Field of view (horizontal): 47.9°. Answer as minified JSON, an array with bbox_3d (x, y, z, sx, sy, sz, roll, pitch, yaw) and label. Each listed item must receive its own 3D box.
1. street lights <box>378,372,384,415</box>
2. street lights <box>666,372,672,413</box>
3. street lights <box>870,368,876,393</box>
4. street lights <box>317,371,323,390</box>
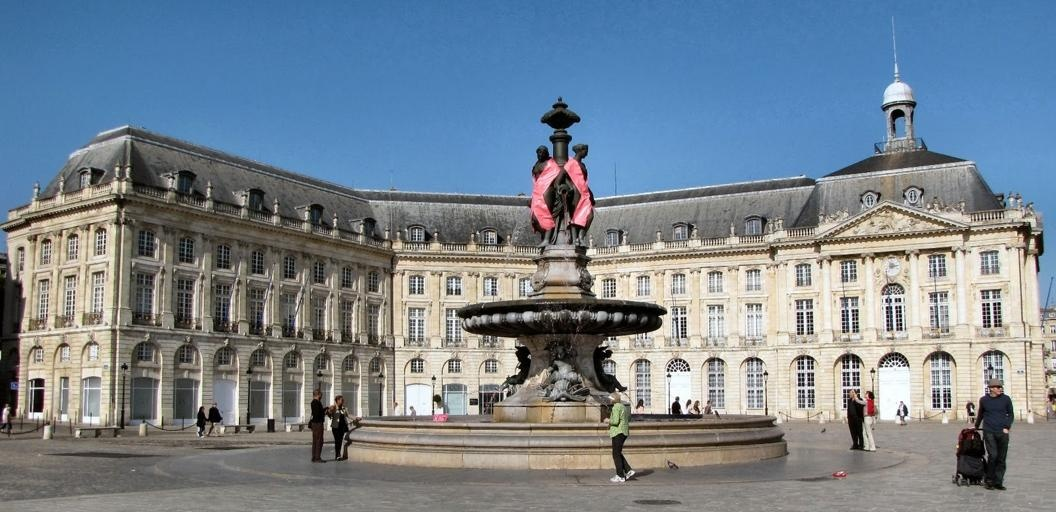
[{"bbox_3d":[-13.926,12.959,113.051,0.682,3.814,0.700,-1,-14,-6],"label":"street lights"},{"bbox_3d":[13.546,12.856,113.686,0.606,3.512,0.971,-2,-14,-2],"label":"street lights"},{"bbox_3d":[31.487,11.214,108.384,0.633,1.967,0.712,-4,-14,9],"label":"street lights"},{"bbox_3d":[-19.045,11.141,108.661,0.278,1.633,0.788,-7,-15,19],"label":"street lights"}]
